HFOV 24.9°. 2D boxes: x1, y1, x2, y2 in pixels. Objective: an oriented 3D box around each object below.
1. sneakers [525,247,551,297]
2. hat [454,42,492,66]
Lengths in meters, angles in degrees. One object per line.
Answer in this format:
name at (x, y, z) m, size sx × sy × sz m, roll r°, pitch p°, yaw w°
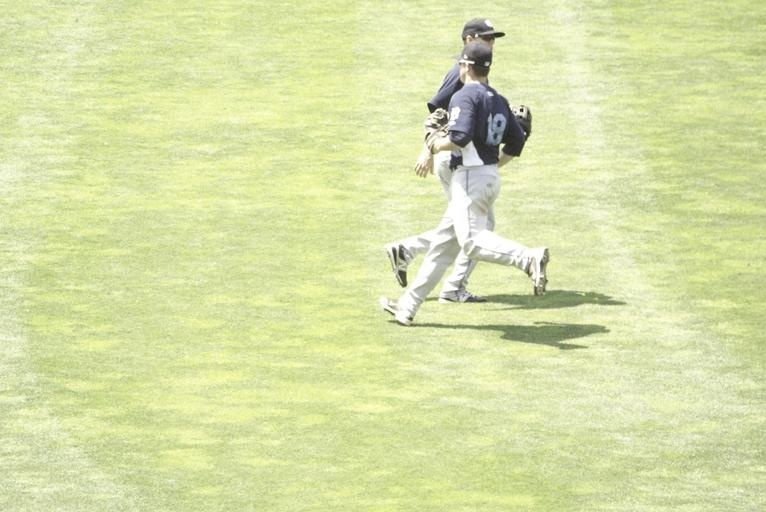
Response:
sneakers at (1.579, 0.147, 16.951) m, size 0.375 × 0.446 × 0.188 m, roll -5°, pitch 22°, yaw 6°
hat at (0.953, -2.019, 17.223) m, size 0.307 × 0.238 × 0.267 m, roll 6°, pitch 14°, yaw -2°
